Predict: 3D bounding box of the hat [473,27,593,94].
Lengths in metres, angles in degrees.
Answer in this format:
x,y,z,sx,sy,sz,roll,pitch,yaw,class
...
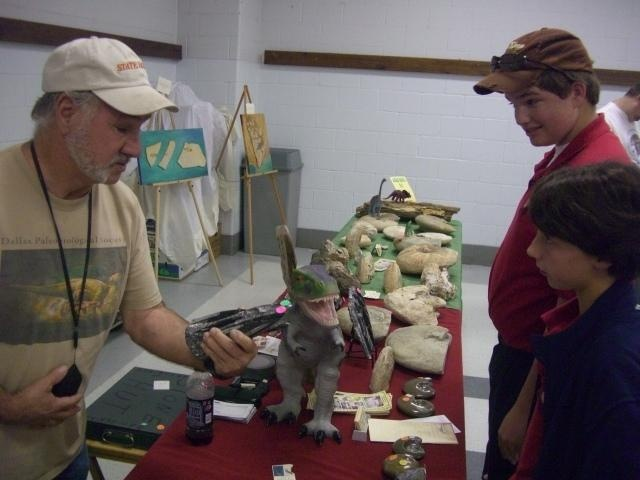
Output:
x,y,z,sx,sy,sz,roll,pitch,yaw,class
0.833,-0.694,1.859,0.380,0.223,0.261,-5,16,5,hat

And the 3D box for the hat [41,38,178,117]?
x,y,z,sx,sy,sz,roll,pitch,yaw,class
-0.646,-0.472,1.454,0.338,0.181,0.221,11,19,2,hat

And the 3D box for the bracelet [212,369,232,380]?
x,y,z,sx,sy,sz,roll,pitch,yaw,class
-0.324,0.460,1.555,0.045,0.036,0.046,4,1,-42,bracelet

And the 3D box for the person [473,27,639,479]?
x,y,z,sx,sy,sz,roll,pitch,yaw,class
0.876,0.254,1.947,0.535,2.153,0.595,4,16,15,person
